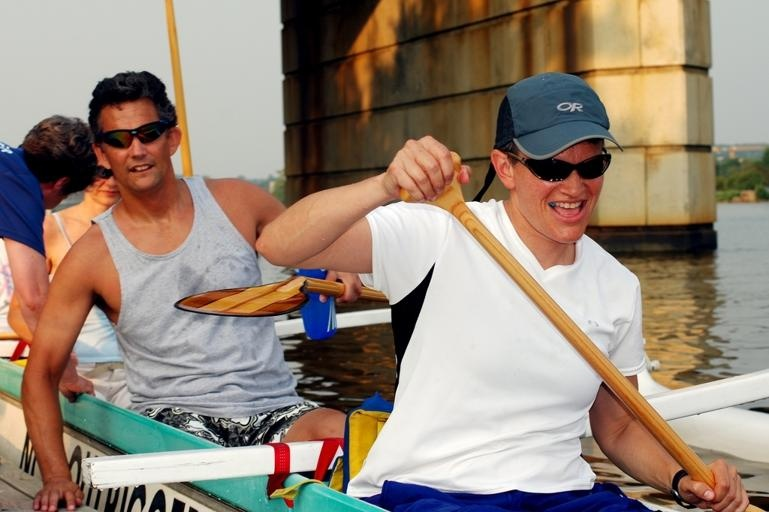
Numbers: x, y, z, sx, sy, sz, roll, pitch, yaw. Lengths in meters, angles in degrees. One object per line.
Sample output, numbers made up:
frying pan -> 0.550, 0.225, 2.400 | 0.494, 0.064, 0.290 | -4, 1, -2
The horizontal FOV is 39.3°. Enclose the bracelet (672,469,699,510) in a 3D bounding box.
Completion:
bracelet -> 1.514, 1.178, 5.494 | 0.147, 0.208, 0.074 | 1, -28, -48

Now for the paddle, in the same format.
paddle -> -0.619, 0.228, 6.213 | 1.004, 0.189, 0.199 | 1, 28, -37

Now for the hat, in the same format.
hat -> 0.870, -0.703, 5.517 | 0.566, 0.482, 0.824 | -1, 0, -10
